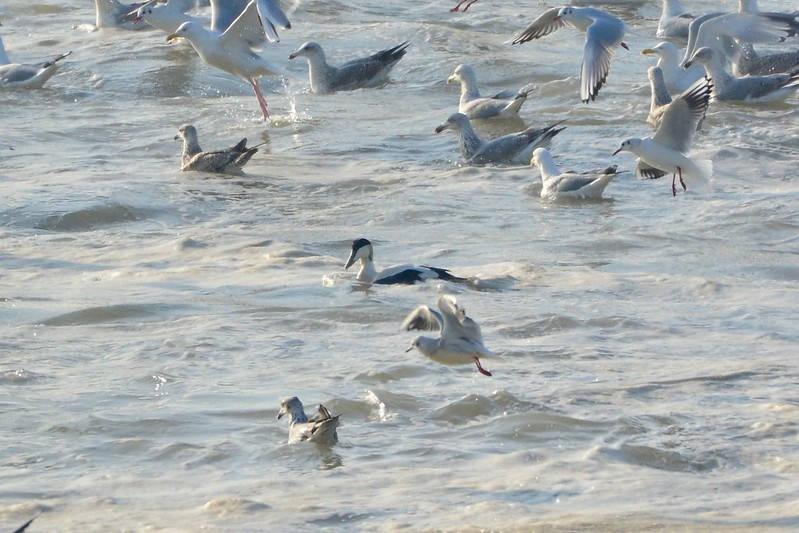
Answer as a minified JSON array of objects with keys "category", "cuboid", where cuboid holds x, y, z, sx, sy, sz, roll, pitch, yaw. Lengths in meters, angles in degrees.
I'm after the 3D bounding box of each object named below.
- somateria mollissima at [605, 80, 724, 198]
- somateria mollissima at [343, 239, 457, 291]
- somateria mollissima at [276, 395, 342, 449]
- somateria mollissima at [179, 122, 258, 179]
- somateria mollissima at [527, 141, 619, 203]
[{"category":"somateria mollissima","cuboid":[3.390,-1.629,13.877,0.898,1.369,1.076,-2,20,-16]},{"category":"somateria mollissima","cuboid":[-0.008,-0.043,12.682,1.379,0.487,0.293,6,20,16]},{"category":"somateria mollissima","cuboid":[-0.758,1.265,9.562,0.489,0.348,0.512,0,16,-10]},{"category":"somateria mollissima","cuboid":[-2.731,-1.696,16.688,1.535,0.732,0.458,-9,37,-35]},{"category":"somateria mollissima","cuboid":[2.402,-1.241,15.519,0.564,0.699,1.418,-25,14,-39]}]
